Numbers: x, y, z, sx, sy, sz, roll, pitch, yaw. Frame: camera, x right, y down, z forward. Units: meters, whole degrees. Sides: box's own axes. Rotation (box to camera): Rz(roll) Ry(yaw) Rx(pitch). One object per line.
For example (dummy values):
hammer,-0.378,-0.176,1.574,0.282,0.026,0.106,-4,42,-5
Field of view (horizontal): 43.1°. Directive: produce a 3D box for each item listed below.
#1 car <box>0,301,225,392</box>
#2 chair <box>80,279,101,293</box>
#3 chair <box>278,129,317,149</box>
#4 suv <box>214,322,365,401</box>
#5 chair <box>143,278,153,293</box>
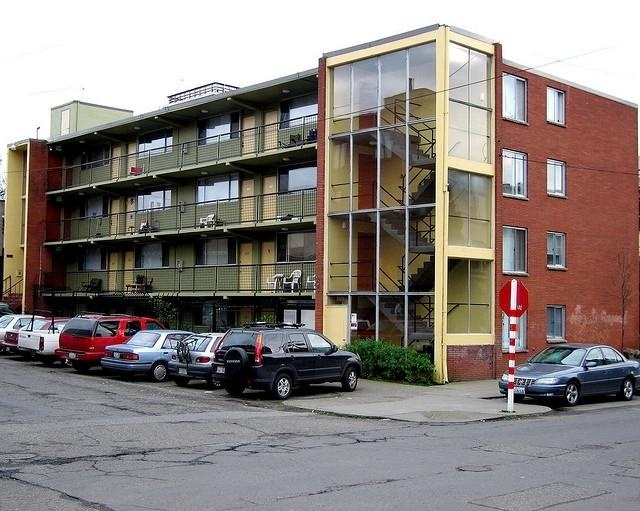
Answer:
car,-6.206,2.853,25.814,4.268,2.308,2.152,-10,-16,44
chair,-12.196,1.613,43.426,0.802,0.886,1.016,6,3,22
chair,-0.812,-4.759,33.076,1.873,0.591,0.633,-1,0,45
suv,-0.996,2.815,22.495,3.828,1.261,1.722,0,-2,-43
chair,-8.547,1.447,40.337,0.407,0.716,0.435,9,-14,-30
